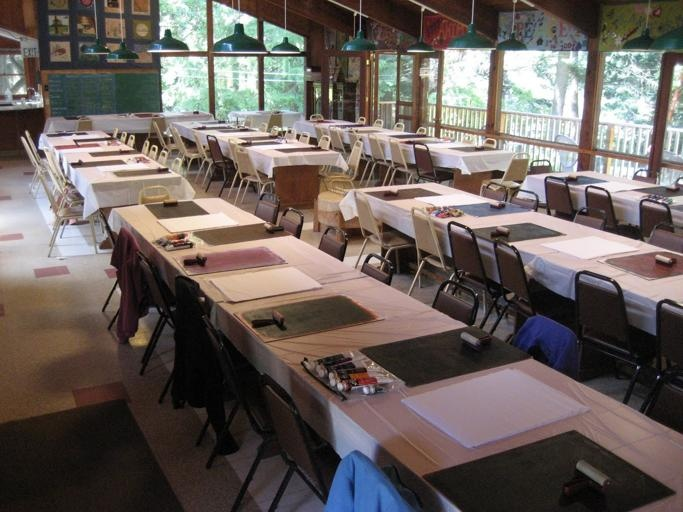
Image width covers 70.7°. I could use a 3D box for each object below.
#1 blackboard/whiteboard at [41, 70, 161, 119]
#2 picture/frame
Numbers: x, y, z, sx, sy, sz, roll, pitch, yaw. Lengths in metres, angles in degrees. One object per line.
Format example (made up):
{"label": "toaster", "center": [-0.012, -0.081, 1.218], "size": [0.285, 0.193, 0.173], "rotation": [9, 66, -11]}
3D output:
{"label": "blackboard/whiteboard", "center": [-6.702, -4.456, 13.171], "size": [2.225, 0.818, 0.083], "rotation": [-5, 19, -19]}
{"label": "picture/frame", "center": [-6.560, -4.548, 13.296], "size": [4.276, 1.323, 0.317], "rotation": [-12, 23, -40]}
